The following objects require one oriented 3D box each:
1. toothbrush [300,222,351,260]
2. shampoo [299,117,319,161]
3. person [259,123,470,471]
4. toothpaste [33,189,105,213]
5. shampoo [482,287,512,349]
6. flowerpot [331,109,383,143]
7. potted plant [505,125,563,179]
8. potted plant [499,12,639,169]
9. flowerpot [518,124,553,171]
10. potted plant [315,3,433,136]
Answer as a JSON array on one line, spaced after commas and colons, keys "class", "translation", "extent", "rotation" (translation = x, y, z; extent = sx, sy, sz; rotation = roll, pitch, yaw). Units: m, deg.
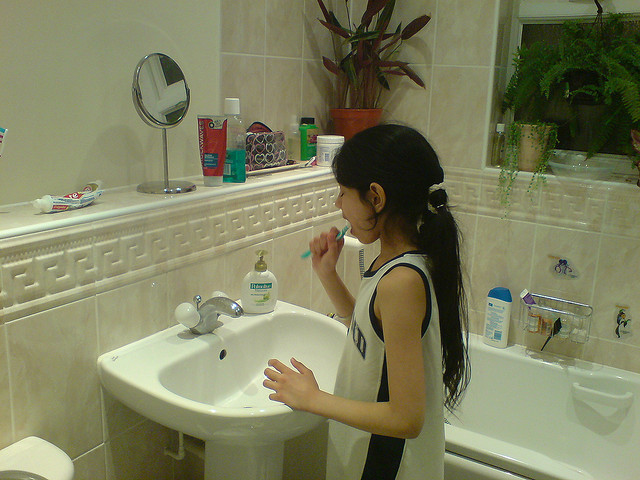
[{"class": "toothbrush", "translation": [0.008, -0.002, 1.822], "extent": [0.215, 0.030, 0.025], "rotation": [-46, 1, 30]}, {"class": "shampoo", "translation": [-0.054, -0.449, 2.373], "extent": [0.076, 0.184, 0.095], "rotation": [0, 14, -2]}, {"class": "person", "translation": [0.138, 0.200, 1.347], "extent": [0.517, 0.952, 0.398], "rotation": [2, 14, 8]}, {"class": "toothpaste", "translation": [-0.710, -0.124, 1.534], "extent": [0.068, 0.059, 0.195], "rotation": [11, 17, 39]}, {"class": "shampoo", "translation": [0.834, 0.356, 2.517], "extent": [0.119, 0.275, 0.092], "rotation": [6, 15, 21]}, {"class": "flowerpot", "translation": [0.161, -0.544, 2.579], "extent": [0.244, 0.215, 0.264], "rotation": [-3, 19, -6]}, {"class": "potted plant", "translation": [0.921, -0.394, 2.412], "extent": [0.223, 0.232, 0.219], "rotation": [2, 11, -3]}, {"class": "potted plant", "translation": [1.113, -0.607, 2.447], "extent": [0.579, 0.749, 0.579], "rotation": [-9, 14, -44]}, {"class": "flowerpot", "translation": [0.941, -0.404, 2.362], "extent": [0.133, 0.204, 0.055], "rotation": [7, 16, 23]}, {"class": "potted plant", "translation": [0.228, -0.795, 2.526], "extent": [0.536, 0.568, 0.326], "rotation": [-6, 16, -24]}]
